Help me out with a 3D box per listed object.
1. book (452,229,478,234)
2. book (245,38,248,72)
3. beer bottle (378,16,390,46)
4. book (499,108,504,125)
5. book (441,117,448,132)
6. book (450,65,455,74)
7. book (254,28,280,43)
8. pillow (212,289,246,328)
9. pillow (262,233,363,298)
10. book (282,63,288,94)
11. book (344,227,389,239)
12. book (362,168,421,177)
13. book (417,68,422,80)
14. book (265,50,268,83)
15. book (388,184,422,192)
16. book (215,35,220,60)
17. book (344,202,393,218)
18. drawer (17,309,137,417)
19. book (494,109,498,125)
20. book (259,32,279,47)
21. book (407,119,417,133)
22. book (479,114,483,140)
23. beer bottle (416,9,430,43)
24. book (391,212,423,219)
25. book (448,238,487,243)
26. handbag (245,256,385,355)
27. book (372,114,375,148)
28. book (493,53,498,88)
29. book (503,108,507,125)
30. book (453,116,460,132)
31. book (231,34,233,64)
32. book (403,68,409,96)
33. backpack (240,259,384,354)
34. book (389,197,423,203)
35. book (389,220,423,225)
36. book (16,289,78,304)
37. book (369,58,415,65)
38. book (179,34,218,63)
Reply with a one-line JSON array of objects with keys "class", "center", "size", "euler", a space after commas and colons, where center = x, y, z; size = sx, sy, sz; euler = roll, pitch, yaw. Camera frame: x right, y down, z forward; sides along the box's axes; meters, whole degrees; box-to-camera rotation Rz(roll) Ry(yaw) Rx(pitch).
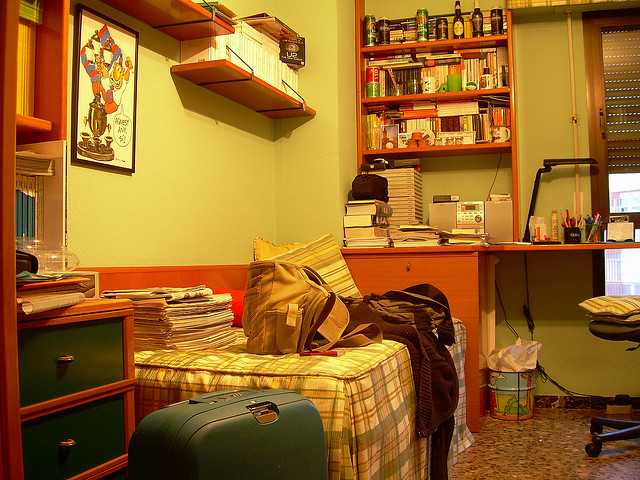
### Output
[{"class": "book", "center": [0.928, -0.050, 3.465], "size": [0.153, 0.037, 0.296], "euler": [-1, -1, 15]}, {"class": "book", "center": [-0.420, -1.055, 3.066], "size": [0.015, 0.188, 0.042], "euler": [0, -1, -5]}, {"class": "beer bottle", "center": [0.467, -1.523, 3.978], "size": [0.085, 0.219, 0.061], "euler": [-1, -1, 5]}, {"class": "book", "center": [1.282, -0.867, 3.826], "size": [0.030, 0.109, 0.006], "euler": [-1, -1, 19]}, {"class": "book", "center": [0.903, -0.835, 3.933], "size": [0.046, 0.105, 0.008], "euler": [-1, -1, 15]}, {"class": "book", "center": [0.962, -1.242, 3.940], "size": [0.032, 0.065, 0.011], "euler": [-1, -1, 13]}, {"class": "book", "center": [-0.329, -1.232, 3.253], "size": [0.107, 0.026, 0.094], "euler": [15, 12, -46]}, {"class": "pillow", "center": [-0.427, 0.315, 2.627], "size": [0.186, 0.074, 0.192], "euler": [-9, 8, -8]}, {"class": "pillow", "center": [0.017, 0.138, 2.920], "size": [0.117, 0.396, 0.377], "euler": [-7, 9, -44]}, {"class": "book", "center": [-0.225, -1.029, 3.445], "size": [0.016, 0.187, 0.072], "euler": [-1, -1, 21]}, {"class": "book", "center": [0.320, -0.040, 3.613], "size": [0.318, 0.072, 0.209], "euler": [-1, -1, -11]}, {"class": "book", "center": [0.528, -0.490, 3.921], "size": [0.361, 0.033, 0.155], "euler": [-1, -1, 8]}, {"class": "book", "center": [0.733, -1.225, 3.998], "size": [0.027, 0.085, 0.008], "euler": [-1, -1, 10]}, {"class": "book", "center": [-0.326, -1.043, 3.256], "size": [0.007, 0.174, 0.035], "euler": [-1, -1, 16]}, {"class": "book", "center": [0.657, -0.376, 3.962], "size": [0.149, 0.034, 0.353], "euler": [-2, -1, 43]}, {"class": "book", "center": [-0.542, -1.009, 2.845], "size": [0.031, 0.127, 0.022], "euler": [0, -1, -30]}, {"class": "book", "center": [0.366, -0.196, 3.652], "size": [0.367, 0.093, 0.181], "euler": [0, -1, -31]}, {"class": "drawer", "center": [-0.851, 0.350, 1.673], "size": [0.225, 0.275, 0.434], "euler": [1, -4, 23]}, {"class": "book", "center": [1.249, -0.869, 3.836], "size": [0.019, 0.080, 0.083], "euler": [0, -5, 22]}, {"class": "book", "center": [-0.317, -1.217, 3.280], "size": [0.023, 0.034, 0.140], "euler": [-18, -9, 32]}, {"class": "book", "center": [0.675, -0.849, 4.038], "size": [0.082, 0.118, 0.083], "euler": [0, 5, 10]}, {"class": "book", "center": [1.146, -0.797, 3.855], "size": [0.021, 0.223, 0.160], "euler": [-1, 4, 15]}, {"class": "beer bottle", "center": [0.750, -1.551, 3.933], "size": [0.085, 0.269, 0.091], "euler": [-1, -1, 0]}, {"class": "book", "center": [0.659, -0.176, 3.949], "size": [0.311, 0.035, 0.124], "euler": [0, -1, -43]}, {"class": "book", "center": [0.904, 0.006, 3.316], "size": [0.221, 0.031, 0.086], "euler": [-1, -1, 7]}, {"class": "handbag", "center": [-0.039, 0.304, 2.179], "size": [0.542, 0.362, 0.501], "euler": [1, -12, 15]}, {"class": "book", "center": [0.396, -0.817, 4.015], "size": [0.013, 0.220, 0.030], "euler": [-1, -1, 2]}, {"class": "book", "center": [1.262, -1.217, 3.897], "size": [0.029, 0.262, 0.077], "euler": [-1, -1, 20]}, {"class": "book", "center": [1.307, -0.869, 3.823], "size": [0.025, 0.113, 0.008], "euler": [-1, -1, 20]}, {"class": "book", "center": [0.984, -0.835, 3.906], "size": [0.085, 0.087, 0.020], "euler": [0, 1, 37]}, {"class": "book", "center": [-0.482, -1.045, 2.946], "size": [0.008, 0.150, 0.029], "euler": [0, -1, -10]}, {"class": "book", "center": [0.633, -1.170, 4.012], "size": [0.040, 0.193, 0.036], "euler": [-1, -1, 32]}, {"class": "backpack", "center": [-0.057, 0.264, 2.164], "size": [0.512, 0.349, 0.394], "euler": [5, -2, -20]}, {"class": "book", "center": [0.666, -0.289, 3.974], "size": [0.146, 0.027, 0.351], "euler": [-2, -1, 42]}, {"class": "book", "center": [0.566, -0.123, 3.873], "size": [0.142, 0.031, 0.049], "euler": [-1, -1, 23]}, {"class": "book", "center": [-0.795, 0.166, 1.582], "size": [0.025, 0.027, 0.194], "euler": [-1, -1, 26]}, {"class": "book", "center": [0.527, -1.327, 4.038], "size": [0.321, 0.044, 0.050], "euler": [-1, -1, 6]}, {"class": "book", "center": [-0.629, -0.999, 2.828], "size": [0.144, 0.142, 0.072], "euler": [-1, -10, 12]}]
